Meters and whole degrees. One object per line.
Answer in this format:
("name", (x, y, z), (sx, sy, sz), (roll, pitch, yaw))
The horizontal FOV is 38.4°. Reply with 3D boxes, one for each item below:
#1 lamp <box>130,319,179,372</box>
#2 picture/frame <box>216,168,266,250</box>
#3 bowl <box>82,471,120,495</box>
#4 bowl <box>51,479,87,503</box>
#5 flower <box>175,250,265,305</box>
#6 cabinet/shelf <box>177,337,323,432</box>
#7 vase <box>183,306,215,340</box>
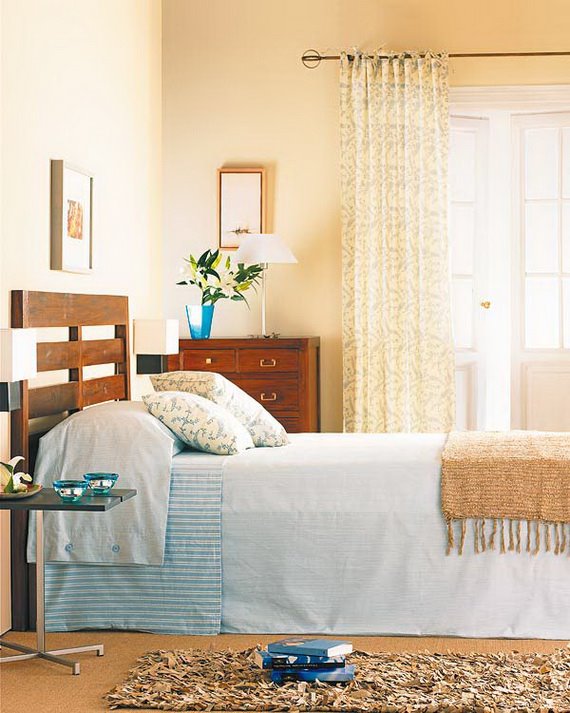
("lamp", (-0.627, -0.042, 3.974), (0.207, 0.262, 0.213), (2, -1, 7))
("picture/frame", (-0.276, -0.869, 4.782), (0.281, 0.511, 0.023), (-2, 31, -12))
("bowl", (-0.493, 0.331, 2.180), (0.065, 0.039, 0.067), (0, -8, 0))
("bowl", (-0.547, 0.339, 2.079), (0.058, 0.040, 0.059), (0, -9, 0))
("flower", (-0.382, -0.503, 4.673), (0.442, 0.211, 0.408), (30, 14, 22))
("cabinet/shelf", (-0.176, 0.314, 4.399), (0.801, 0.774, 0.455), (0, -1, 3))
("vase", (-0.467, -0.187, 4.443), (0.176, 0.200, 0.170), (-1, -5, -7))
